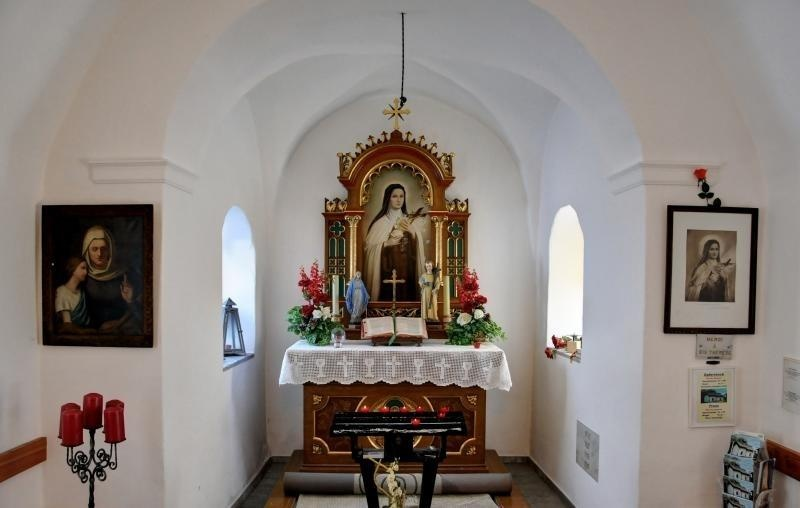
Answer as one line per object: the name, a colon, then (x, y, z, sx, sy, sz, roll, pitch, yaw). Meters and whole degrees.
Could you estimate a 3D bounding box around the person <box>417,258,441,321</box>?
person: (0.419, 0.509, 8.371, 0.297, 0.765, 0.251, 0, -4, -9)

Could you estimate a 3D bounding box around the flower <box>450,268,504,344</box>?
flower: (0.915, 0.659, 8.345, 0.780, 0.964, 0.905, -2, 2, 30)

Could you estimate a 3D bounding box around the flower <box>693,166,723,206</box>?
flower: (3.117, -0.666, 6.435, 0.282, 0.388, 0.120, 2, -5, -31)

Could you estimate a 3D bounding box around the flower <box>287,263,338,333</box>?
flower: (-1.120, 0.662, 8.231, 0.635, 1.057, 0.684, -1, -4, -6)
